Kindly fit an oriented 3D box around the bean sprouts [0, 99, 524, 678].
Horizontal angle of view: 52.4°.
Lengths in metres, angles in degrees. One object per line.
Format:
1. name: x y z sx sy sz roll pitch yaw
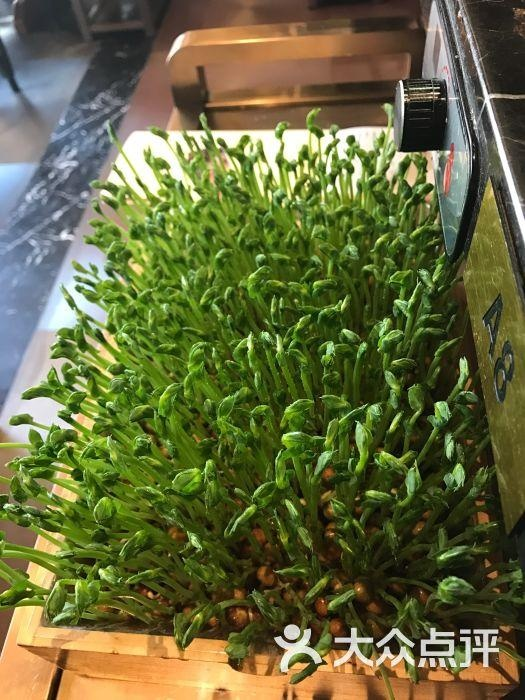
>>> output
1. bean sprouts: 0.028 0.045 0.770 0.589 0.336 0.744 -2 41 9
